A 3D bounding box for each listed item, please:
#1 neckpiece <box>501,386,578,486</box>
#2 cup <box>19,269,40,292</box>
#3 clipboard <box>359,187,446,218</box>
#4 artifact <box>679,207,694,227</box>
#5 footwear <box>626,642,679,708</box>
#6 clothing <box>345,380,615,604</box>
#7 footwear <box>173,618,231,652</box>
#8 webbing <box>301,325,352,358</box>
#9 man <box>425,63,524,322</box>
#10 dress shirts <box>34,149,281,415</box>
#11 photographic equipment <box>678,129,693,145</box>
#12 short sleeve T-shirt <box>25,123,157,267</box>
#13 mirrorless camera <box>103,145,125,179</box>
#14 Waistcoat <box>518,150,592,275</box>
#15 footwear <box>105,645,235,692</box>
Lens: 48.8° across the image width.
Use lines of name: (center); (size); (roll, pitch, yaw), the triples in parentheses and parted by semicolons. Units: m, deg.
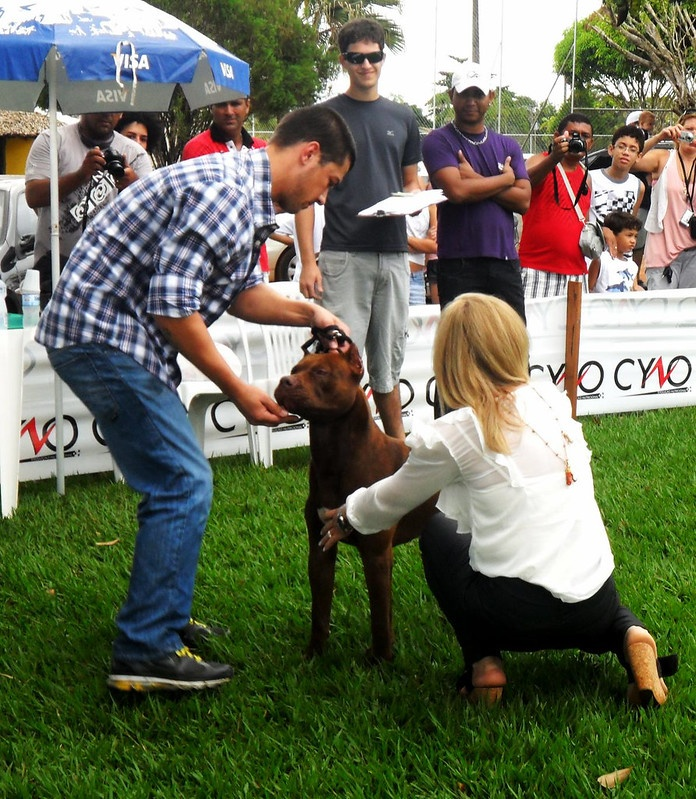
neckpiece: (0.554, 0.078, 2.225); (0.114, 0.033, 0.333); (-20, 46, -14)
cup: (-1.960, -0.727, 4.756); (0.143, 0.152, 0.142); (5, 11, -1)
clipboard: (0.351, -1.104, 4.349); (0.313, 0.085, 0.331); (12, 22, 42)
artifact: (3.498, -1.864, 7.893); (0.050, 0.162, 0.161); (15, 5, -24)
footwear: (0.892, 0.746, 2.178); (0.081, 0.196, 0.061); (-26, -25, 11)
clothing: (0.380, 0.204, 2.276); (0.650, 0.354, 0.632); (9, -3, -31)
footwear: (-0.549, 0.889, 2.874); (0.232, 0.099, 0.083); (-9, 23, 17)
webbing: (-0.077, -0.208, 2.723); (0.170, 0.071, 0.105); (-17, 1, -4)
man: (0.960, -1.124, 5.439); (0.693, 2.251, 0.591); (-6, 14, -3)
dress shirts: (-0.552, -0.462, 2.469); (0.565, 0.775, 0.659); (23, 8, 16)
photographic equipment: (3.492, -2.691, 7.880); (0.167, 0.091, 0.103); (-3, 8, -27)
short sleeve T-shirt: (-1.815, -1.389, 5.399); (0.855, 1.320, 0.813); (5, 16, -19)
mirrorless camera: (-1.482, -1.485, 4.824); (0.085, 0.151, 0.159); (-37, 39, 5)
Waistcoat: (1.848, -1.597, 6.784); (0.639, 1.019, 0.546); (7, 1, -27)
footwear: (-0.559, 0.832, 2.421); (0.389, 0.177, 0.139); (2, -6, -15)
